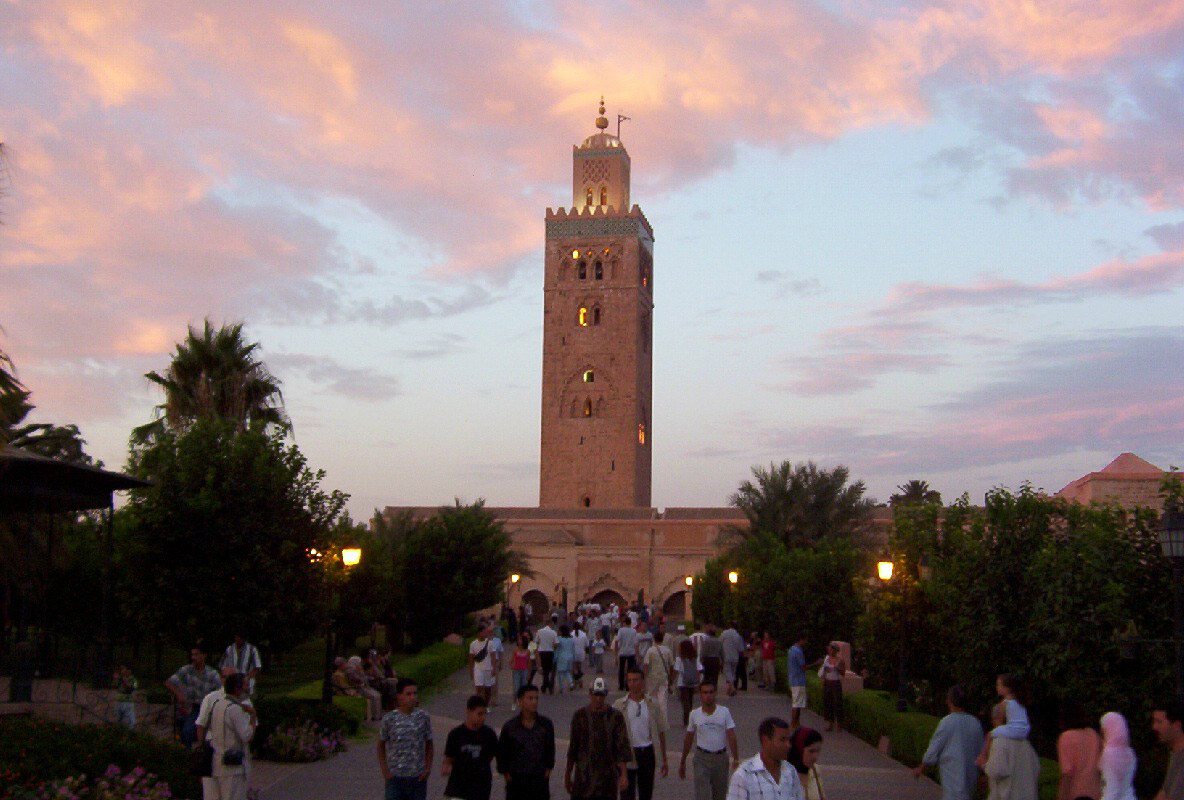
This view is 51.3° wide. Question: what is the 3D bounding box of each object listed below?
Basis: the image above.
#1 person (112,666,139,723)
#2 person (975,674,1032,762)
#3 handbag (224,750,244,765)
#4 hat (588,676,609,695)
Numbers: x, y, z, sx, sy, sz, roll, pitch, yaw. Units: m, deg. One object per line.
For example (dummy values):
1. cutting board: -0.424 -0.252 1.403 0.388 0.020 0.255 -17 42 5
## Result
1. person: -6.994 4.507 18.641 0.315 0.846 1.577 3 -9 -19
2. person: 4.847 3.703 14.290 0.598 0.963 0.454 -2 -7 40
3. handbag: -4.223 4.249 14.620 0.280 0.190 0.165 0 -1 8
4. hat: 0.104 3.470 14.913 0.235 0.184 0.336 4 -3 -2
